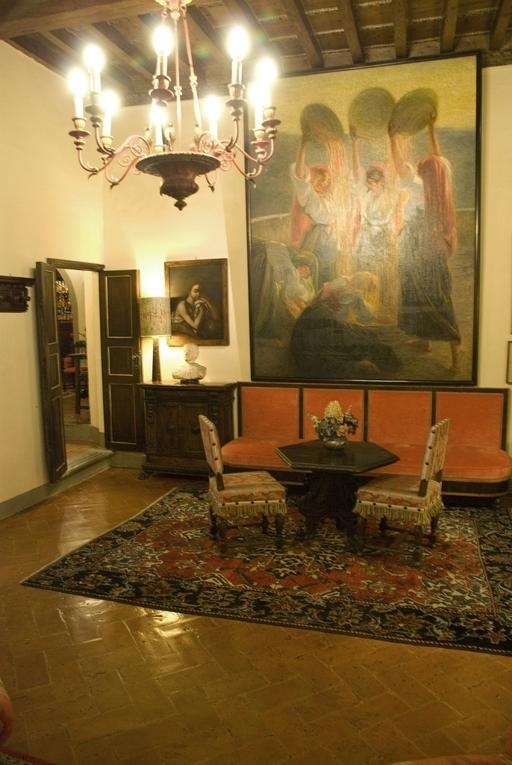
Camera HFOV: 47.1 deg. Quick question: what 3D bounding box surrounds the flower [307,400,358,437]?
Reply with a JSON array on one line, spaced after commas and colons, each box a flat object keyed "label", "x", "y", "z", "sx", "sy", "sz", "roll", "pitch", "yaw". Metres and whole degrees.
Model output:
[{"label": "flower", "x": 0.645, "y": 0.323, "z": 4.903, "sx": 0.354, "sy": 0.246, "sz": 0.456, "roll": -2, "pitch": -1, "yaw": 7}]

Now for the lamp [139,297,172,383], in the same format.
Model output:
[{"label": "lamp", "x": -1.141, "y": -0.491, "z": 6.698, "sx": 0.350, "sy": 0.950, "sz": 0.427, "roll": -3, "pitch": 6, "yaw": -11}]

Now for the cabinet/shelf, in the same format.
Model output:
[{"label": "cabinet/shelf", "x": -0.710, "y": 0.495, "z": 6.166, "sx": 1.112, "sy": 1.016, "sz": 0.495, "roll": 1, "pitch": 3, "yaw": 17}]

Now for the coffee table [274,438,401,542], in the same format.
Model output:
[{"label": "coffee table", "x": 0.640, "y": 0.725, "z": 4.695, "sx": 0.871, "sy": 0.587, "sz": 0.818, "roll": 1, "pitch": 1, "yaw": 16}]
